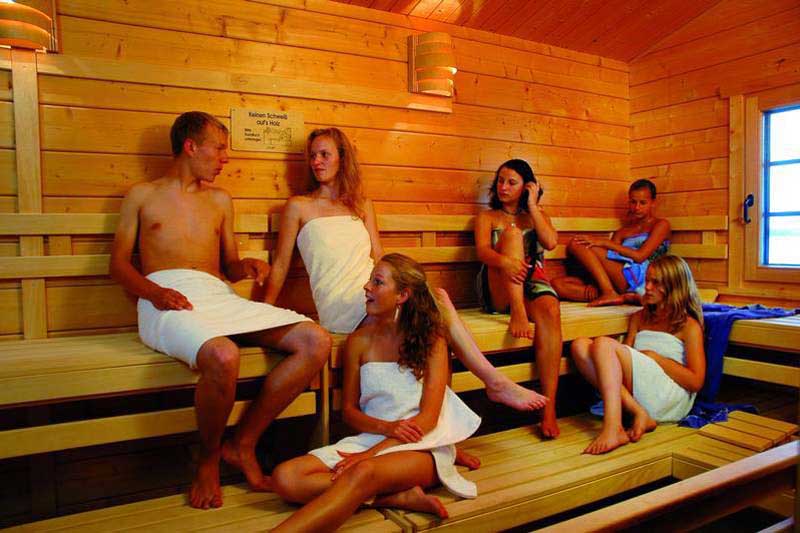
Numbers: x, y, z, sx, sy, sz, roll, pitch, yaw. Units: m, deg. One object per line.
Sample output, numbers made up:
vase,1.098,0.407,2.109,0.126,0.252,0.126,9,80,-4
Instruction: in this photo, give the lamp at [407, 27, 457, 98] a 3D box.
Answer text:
lamp,0.221,-1.147,3.487,0.183,0.297,0.336,8,17,37

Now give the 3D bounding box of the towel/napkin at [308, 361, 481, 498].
towel/napkin,-0.078,0.632,2.424,0.795,0.464,0.455,-8,10,-3

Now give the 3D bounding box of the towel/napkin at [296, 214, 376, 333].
towel/napkin,-0.296,0.031,2.924,0.347,0.557,0.197,-4,-6,-9

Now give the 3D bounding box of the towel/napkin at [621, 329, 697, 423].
towel/napkin,1.243,0.523,2.946,0.294,0.404,0.261,4,7,25
